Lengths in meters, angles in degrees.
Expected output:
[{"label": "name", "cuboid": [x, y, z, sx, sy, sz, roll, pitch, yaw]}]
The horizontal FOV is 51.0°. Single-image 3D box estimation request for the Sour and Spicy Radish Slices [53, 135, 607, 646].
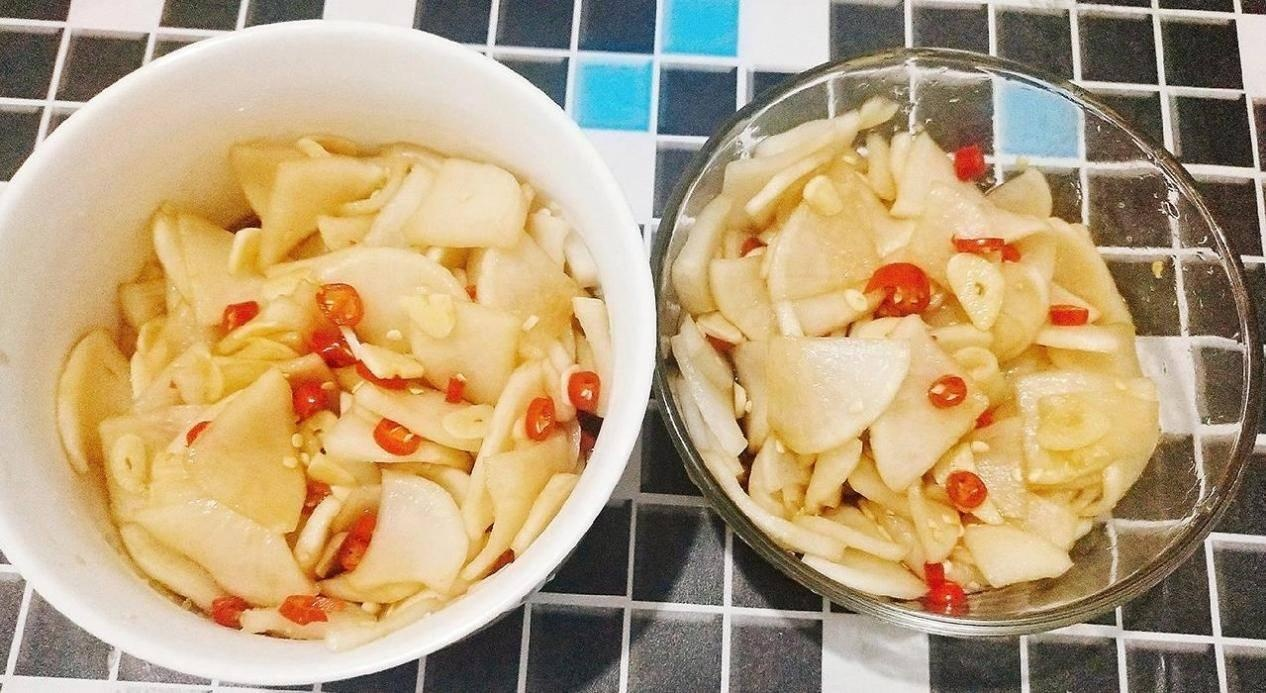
[{"label": "Sour and Spicy Radish Slices", "cuboid": [-0.421, 0.103, 1.828, 0.739, 0.298, 0.694, 16, 56, -15]}]
